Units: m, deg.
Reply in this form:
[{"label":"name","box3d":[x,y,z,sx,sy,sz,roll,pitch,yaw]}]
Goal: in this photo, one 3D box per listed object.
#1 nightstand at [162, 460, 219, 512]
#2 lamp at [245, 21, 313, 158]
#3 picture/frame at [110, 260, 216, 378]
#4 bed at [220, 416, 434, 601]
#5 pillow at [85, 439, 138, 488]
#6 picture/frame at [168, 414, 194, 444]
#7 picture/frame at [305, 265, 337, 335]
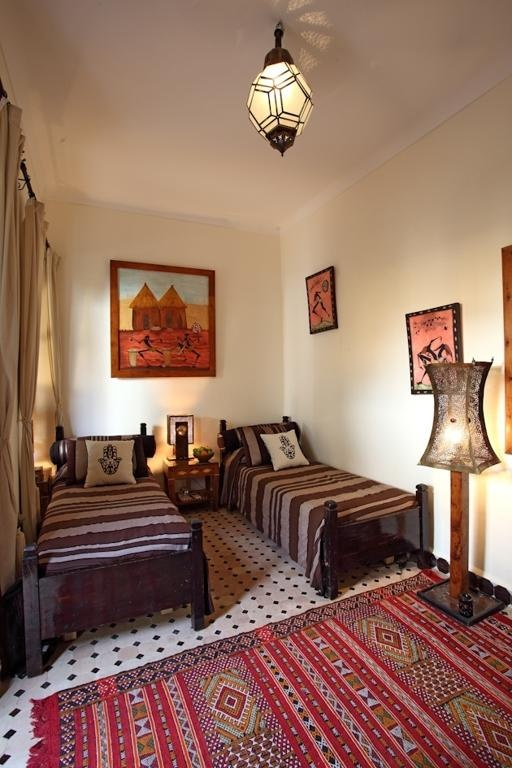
[{"label":"nightstand","box3d":[-0.603,0.899,4.964,0.570,0.549,0.455,-1,0,-25]},{"label":"lamp","box3d":[0.100,-1.250,2.325,0.273,0.444,0.136,0,8,5]},{"label":"picture/frame","box3d":[-0.916,-0.606,5.020,1.111,1.160,0.080,-1,2,-35]},{"label":"bed","box3d":[0.458,0.889,3.954,0.775,0.735,1.247,-1,-2,-26]},{"label":"pillow","box3d":[-1.084,0.597,3.957,0.270,0.293,0.113,3,-40,-21]},{"label":"picture/frame","box3d":[-0.746,0.416,5.143,0.260,0.271,0.250,0,2,-21]},{"label":"picture/frame","box3d":[0.611,-0.776,4.897,0.074,0.800,0.672,-3,3,-18]}]
